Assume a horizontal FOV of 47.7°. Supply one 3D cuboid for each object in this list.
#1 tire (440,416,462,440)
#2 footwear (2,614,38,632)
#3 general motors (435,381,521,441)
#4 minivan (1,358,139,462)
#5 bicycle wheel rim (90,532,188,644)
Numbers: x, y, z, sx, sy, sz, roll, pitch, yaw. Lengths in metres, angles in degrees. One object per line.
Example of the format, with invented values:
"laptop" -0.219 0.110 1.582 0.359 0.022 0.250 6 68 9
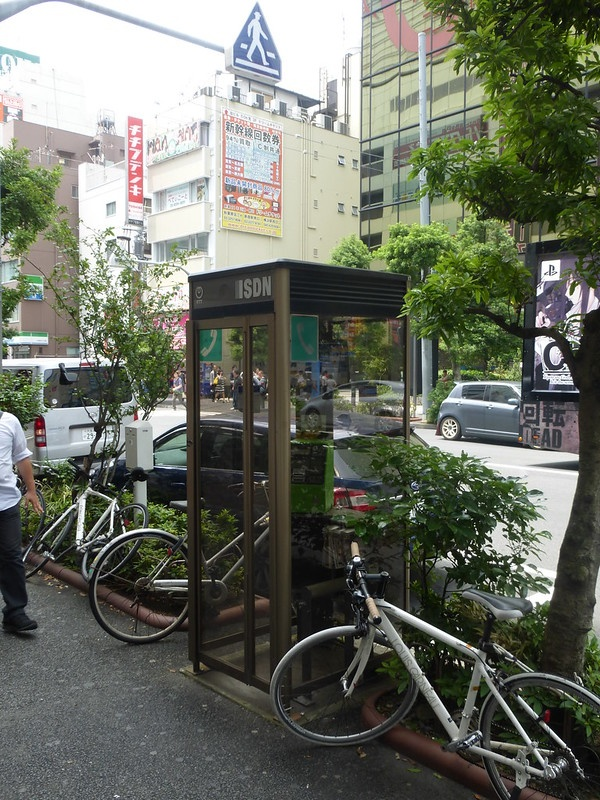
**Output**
"tire" 3.843 0.710 17.140 0.178 0.543 0.506 -6 -4 -34
"footwear" -1.932 1.533 4.723 0.285 0.152 0.109 -3 -5 23
"general motors" 4.366 0.291 16.409 0.982 0.902 1.712 1 -3 -44
"minivan" -3.082 0.280 9.257 1.392 1.427 2.317 -2 8 -38
"bicycle wheel rim" -1.094 1.316 4.763 0.782 0.897 0.195 7 12 -15
